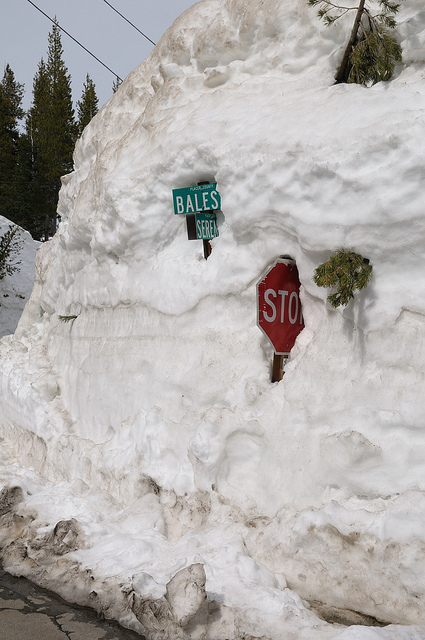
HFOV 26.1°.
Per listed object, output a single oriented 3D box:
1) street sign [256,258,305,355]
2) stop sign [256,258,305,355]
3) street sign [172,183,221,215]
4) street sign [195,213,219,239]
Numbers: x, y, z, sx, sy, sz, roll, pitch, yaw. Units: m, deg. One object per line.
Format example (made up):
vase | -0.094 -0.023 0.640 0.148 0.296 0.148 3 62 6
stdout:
street sign | 0.601 -0.117 7.839 0.577 0.904 0.131 -19 23 -40
stop sign | 0.600 -0.117 7.838 0.080 0.885 0.573 16 28 41
street sign | -0.158 -1.174 8.818 0.158 0.262 0.783 -14 13 -25
street sign | -0.056 -0.916 8.812 0.221 0.280 0.035 -2 -1 -7
